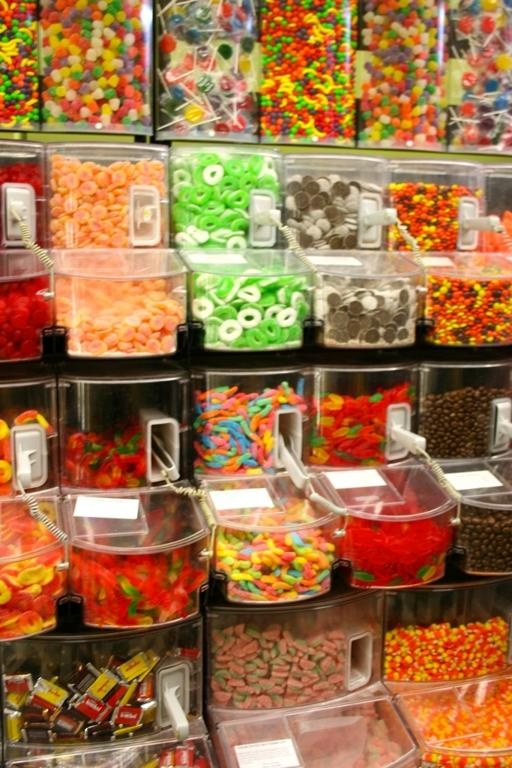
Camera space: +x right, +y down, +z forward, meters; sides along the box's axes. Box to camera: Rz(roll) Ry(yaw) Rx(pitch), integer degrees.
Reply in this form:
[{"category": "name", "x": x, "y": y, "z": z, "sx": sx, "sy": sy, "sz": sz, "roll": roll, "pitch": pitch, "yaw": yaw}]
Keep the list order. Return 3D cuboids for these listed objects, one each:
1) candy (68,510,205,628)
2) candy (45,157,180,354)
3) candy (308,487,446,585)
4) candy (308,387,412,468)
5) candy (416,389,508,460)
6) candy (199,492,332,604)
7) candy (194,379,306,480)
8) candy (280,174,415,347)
[{"category": "candy", "x": -0.249, "y": 0.366, "z": 1.295, "sx": 0.212, "sy": 0.136, "sz": 0.223, "roll": -1, "pitch": 0, "yaw": 41}, {"category": "candy", "x": -0.335, "y": -0.336, "z": 1.518, "sx": 0.314, "sy": 0.486, "sz": 0.397, "roll": -4, "pitch": 16, "yaw": -17}, {"category": "candy", "x": 0.302, "y": 0.353, "z": 1.570, "sx": 0.333, "sy": 0.215, "sz": 0.197, "roll": -3, "pitch": 5, "yaw": -14}, {"category": "candy", "x": 0.272, "y": 0.109, "z": 1.640, "sx": 0.231, "sy": 0.162, "sz": 0.197, "roll": -1, "pitch": -1, "yaw": 21}, {"category": "candy", "x": 0.563, "y": 0.100, "z": 1.731, "sx": 0.211, "sy": 0.180, "sz": 0.210, "roll": 0, "pitch": 2, "yaw": 14}, {"category": "candy", "x": 0.035, "y": 0.372, "z": 1.458, "sx": 0.294, "sy": 0.205, "sz": 0.195, "roll": -1, "pitch": 15, "yaw": -6}, {"category": "candy", "x": -0.023, "y": 0.105, "z": 1.621, "sx": 0.245, "sy": 0.180, "sz": 0.243, "roll": 0, "pitch": 2, "yaw": 27}, {"category": "candy", "x": 0.254, "y": -0.352, "z": 1.719, "sx": 0.372, "sy": 0.457, "sz": 0.403, "roll": 0, "pitch": 15, "yaw": -3}]
